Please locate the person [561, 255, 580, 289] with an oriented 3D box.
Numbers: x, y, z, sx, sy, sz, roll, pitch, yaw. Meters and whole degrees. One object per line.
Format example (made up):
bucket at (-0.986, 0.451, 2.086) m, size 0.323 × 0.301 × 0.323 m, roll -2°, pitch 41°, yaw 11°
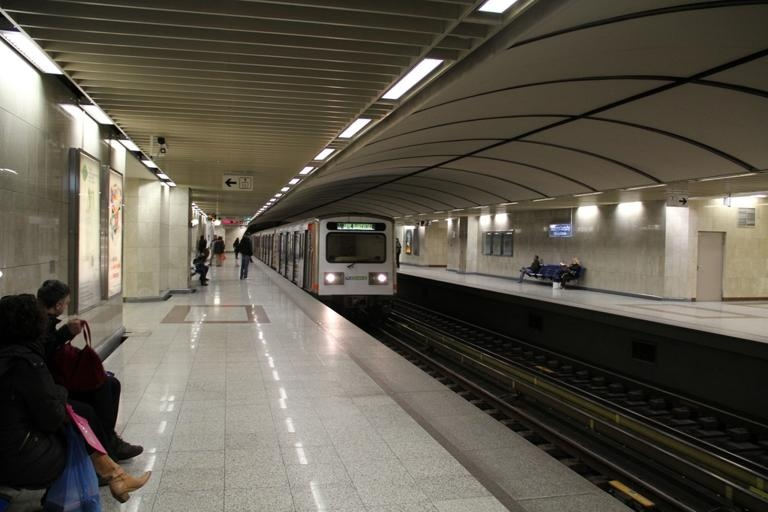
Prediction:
person at (8.015, 0.726, 20.761) m, size 1.114 × 1.224 × 0.690 m, roll -1°, pitch 4°, yaw -37°
